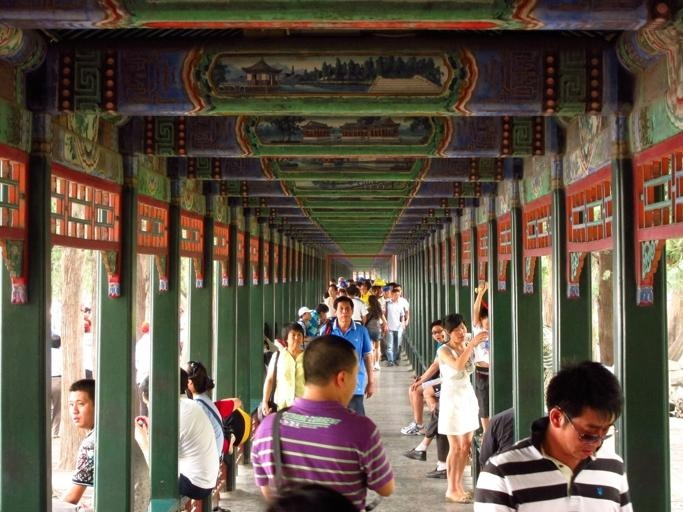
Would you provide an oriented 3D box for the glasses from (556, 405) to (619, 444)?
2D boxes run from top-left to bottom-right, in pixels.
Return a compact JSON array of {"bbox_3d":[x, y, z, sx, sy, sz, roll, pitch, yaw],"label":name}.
[{"bbox_3d":[1.177,0.829,4.234,0.217,0.167,0.048,2,-12,-4],"label":"glasses"}]

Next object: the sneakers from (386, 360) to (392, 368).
[{"bbox_3d":[0.962,2.184,17.459,0.055,0.133,0.183,1,-25,-4],"label":"sneakers"}]

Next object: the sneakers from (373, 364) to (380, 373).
[{"bbox_3d":[0.667,2.094,16.239,0.086,0.168,0.155,-1,0,3],"label":"sneakers"}]

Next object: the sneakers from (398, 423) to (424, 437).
[{"bbox_3d":[0.874,2.161,10.780,0.338,0.184,0.135,1,0,-1],"label":"sneakers"}]

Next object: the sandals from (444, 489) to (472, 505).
[{"bbox_3d":[1.134,2.321,8.368,0.252,0.203,0.102,-5,-7,20],"label":"sandals"}]

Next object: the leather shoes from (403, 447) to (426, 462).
[{"bbox_3d":[0.828,2.213,9.686,0.219,0.117,0.110,8,-3,14],"label":"leather shoes"}]

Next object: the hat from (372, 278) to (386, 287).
[{"bbox_3d":[1.024,0.753,23.979,0.313,0.205,0.321,-7,-14,7],"label":"hat"}]

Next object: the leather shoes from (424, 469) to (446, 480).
[{"bbox_3d":[0.981,2.282,9.054,0.207,0.106,0.082,3,-8,-7],"label":"leather shoes"}]
